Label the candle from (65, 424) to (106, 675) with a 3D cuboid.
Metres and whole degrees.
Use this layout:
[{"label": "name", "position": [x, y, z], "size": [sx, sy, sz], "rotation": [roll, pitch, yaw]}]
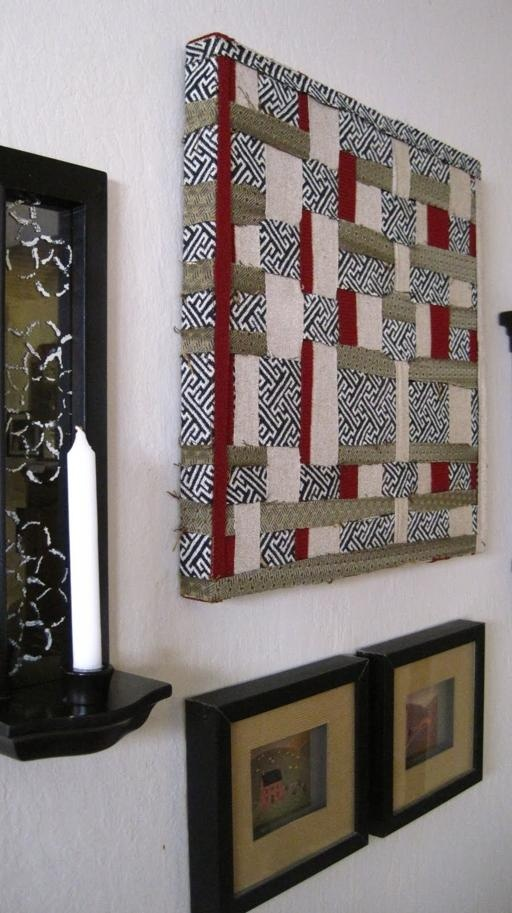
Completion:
[{"label": "candle", "position": [-0.112, 0.063, 0.556], "size": [0.024, 0.159, 0.024], "rotation": [1, -2, -8]}]
